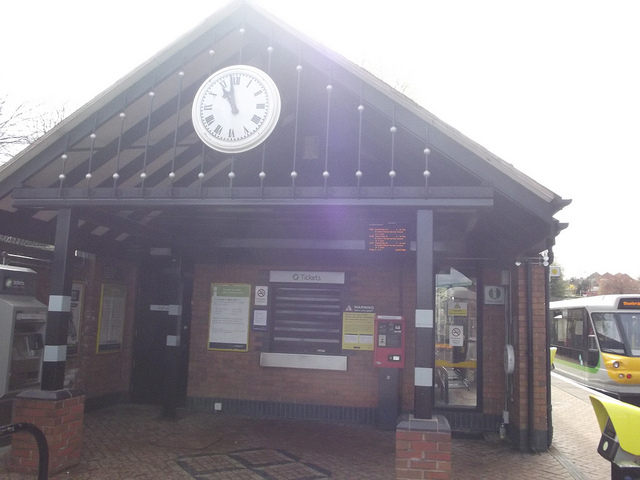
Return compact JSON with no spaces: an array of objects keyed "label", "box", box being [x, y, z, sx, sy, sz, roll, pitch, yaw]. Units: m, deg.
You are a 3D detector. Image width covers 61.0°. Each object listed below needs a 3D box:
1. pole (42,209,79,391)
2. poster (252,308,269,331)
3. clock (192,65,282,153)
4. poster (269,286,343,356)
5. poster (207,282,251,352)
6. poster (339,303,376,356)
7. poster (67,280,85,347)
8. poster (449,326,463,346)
[{"label":"pole","box":[-3.908,0.868,8.147,0.375,2.488,0.578,2,0,-16]},{"label":"poster","box":[-1.224,1.667,11.214,0.393,0.614,0.056,-1,-15,5]},{"label":"clock","box":[-1.264,-1.957,8.028,1.311,1.250,0.163,2,0,6]},{"label":"poster","box":[-0.230,1.577,11.072,1.576,1.704,0.142,2,20,0]},{"label":"poster","box":[-1.876,1.664,11.346,1.188,2.200,0.145,-1,-13,7]},{"label":"poster","box":[0.772,1.840,10.884,0.894,1.452,0.098,0,-12,7]},{"label":"poster","box":[-4.912,1.476,10.804,0.154,1.505,0.733,1,4,-38]},{"label":"poster","box":[2.746,1.943,10.899,0.349,0.562,0.056,0,-11,10]}]
